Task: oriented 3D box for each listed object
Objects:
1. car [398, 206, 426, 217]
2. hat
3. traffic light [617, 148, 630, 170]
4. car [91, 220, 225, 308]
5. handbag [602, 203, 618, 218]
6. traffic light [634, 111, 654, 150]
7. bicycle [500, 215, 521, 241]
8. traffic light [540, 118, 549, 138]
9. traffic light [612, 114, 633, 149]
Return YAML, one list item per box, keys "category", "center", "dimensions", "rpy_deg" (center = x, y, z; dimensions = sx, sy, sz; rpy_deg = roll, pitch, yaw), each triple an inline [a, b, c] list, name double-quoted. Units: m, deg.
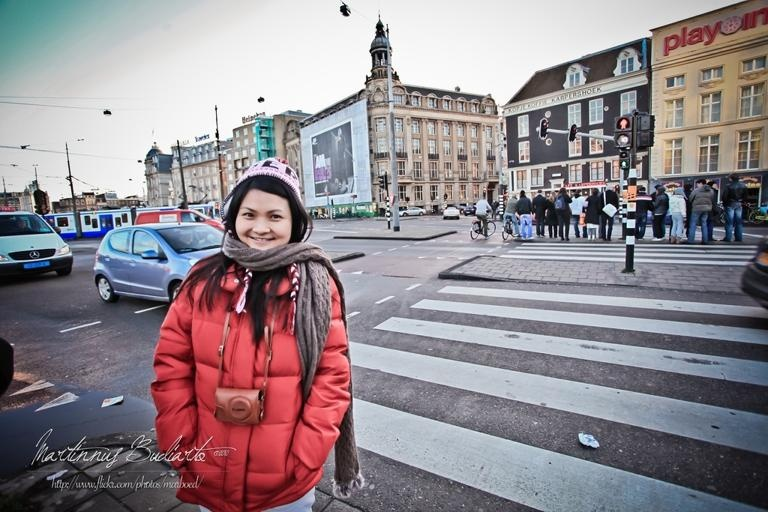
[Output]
- category: "car"
  center: [3.155, -4.852, 53.502]
  dimensions: [3.231, 0.981, 1.473]
  rpy_deg: [1, 5, -14]
- category: "hat"
  center: [-1.110, -0.673, 4.458]
  dimensions: [0.672, 0.490, 0.368]
  rpy_deg: [-7, 49, 8]
- category: "traffic light"
  center: [5.675, -2.310, 11.623]
  dimensions: [0.213, 0.458, 0.682]
  rpy_deg: [2, 10, 24]
- category: "car"
  center: [-4.575, 0.033, 10.012]
  dimensions: [3.340, 1.464, 2.066]
  rpy_deg: [1, 4, 22]
- category: "handbag"
  center: [6.997, -1.404, 15.305]
  dimensions: [0.411, 0.407, 0.130]
  rpy_deg: [-44, 7, -28]
- category: "traffic light"
  center: [5.783, -2.812, 10.970]
  dimensions: [0.383, 0.827, 0.597]
  rpy_deg: [3, 10, 29]
- category: "bicycle"
  center: [4.779, -1.049, 18.475]
  dimensions: [0.552, 0.663, 1.132]
  rpy_deg: [-2, 2, 32]
- category: "traffic light"
  center: [6.929, -5.619, 21.363]
  dimensions: [0.257, 0.746, 1.120]
  rpy_deg: [1, 9, 14]
- category: "traffic light"
  center: [5.416, -2.838, 11.156]
  dimensions: [0.349, 0.767, 0.373]
  rpy_deg: [2, 9, 22]
